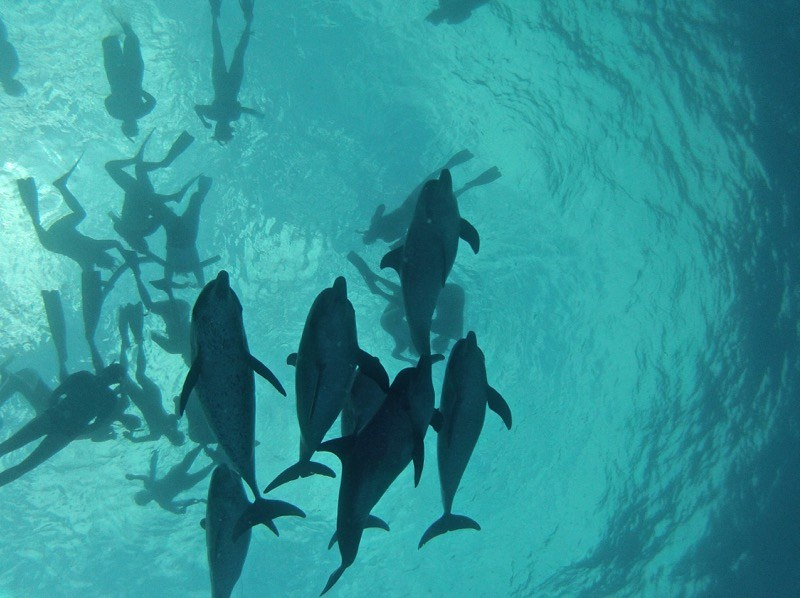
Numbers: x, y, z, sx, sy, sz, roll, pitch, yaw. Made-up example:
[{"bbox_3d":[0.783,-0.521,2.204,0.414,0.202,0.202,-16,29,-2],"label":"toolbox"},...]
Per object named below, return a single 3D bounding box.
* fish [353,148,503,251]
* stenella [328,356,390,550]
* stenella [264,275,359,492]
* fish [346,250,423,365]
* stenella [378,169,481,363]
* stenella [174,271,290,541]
[{"bbox_3d":[0.516,-1.673,16.589,1.275,2.409,0.632,46,10,14],"label":"fish"},{"bbox_3d":[-0.598,2.060,13.599,0.768,2.899,0.737,9,-2,26],"label":"stenella"},{"bbox_3d":[-1.215,1.165,13.497,1.189,3.011,1.110,10,-1,-11],"label":"stenella"},{"bbox_3d":[-0.194,0.088,16.365,0.549,1.212,1.860,-8,-62,40],"label":"fish"},{"bbox_3d":[0.360,-0.471,13.333,1.102,2.585,0.786,6,0,-24],"label":"stenella"},{"bbox_3d":[-2.191,1.383,13.503,1.278,3.865,0.887,-10,10,2],"label":"stenella"}]
